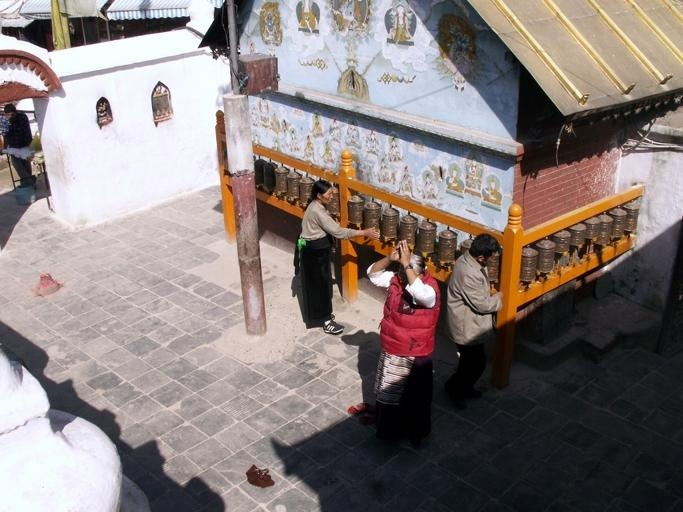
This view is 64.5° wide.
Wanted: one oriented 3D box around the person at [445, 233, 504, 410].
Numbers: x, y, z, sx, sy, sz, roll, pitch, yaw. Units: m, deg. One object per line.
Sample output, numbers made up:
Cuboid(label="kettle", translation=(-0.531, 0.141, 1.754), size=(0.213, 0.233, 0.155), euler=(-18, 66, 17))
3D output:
Cuboid(label="person", translation=(1.373, 0.694, 5.745), size=(0.519, 1.880, 0.789), euler=(25, 44, 34))

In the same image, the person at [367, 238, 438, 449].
Cuboid(label="person", translation=(0.622, 0.854, 5.228), size=(0.579, 2.077, 0.809), euler=(4, 36, 10))

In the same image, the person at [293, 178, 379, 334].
Cuboid(label="person", translation=(-0.058, -0.004, 7.245), size=(1.193, 2.054, 0.895), euler=(-14, 42, -20))

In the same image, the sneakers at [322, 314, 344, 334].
Cuboid(label="sneakers", translation=(-0.126, 0.923, 7.293), size=(0.294, 0.194, 0.180), euler=(19, 35, 28))
